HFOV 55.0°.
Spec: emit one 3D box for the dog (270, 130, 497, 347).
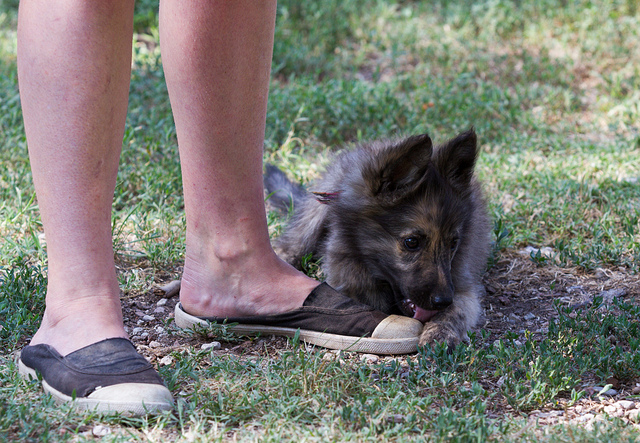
[{"bbox_3d":[0.431,-0.053,4.059,0.965,0.808,1.586,3,19,-19],"label":"dog"}]
